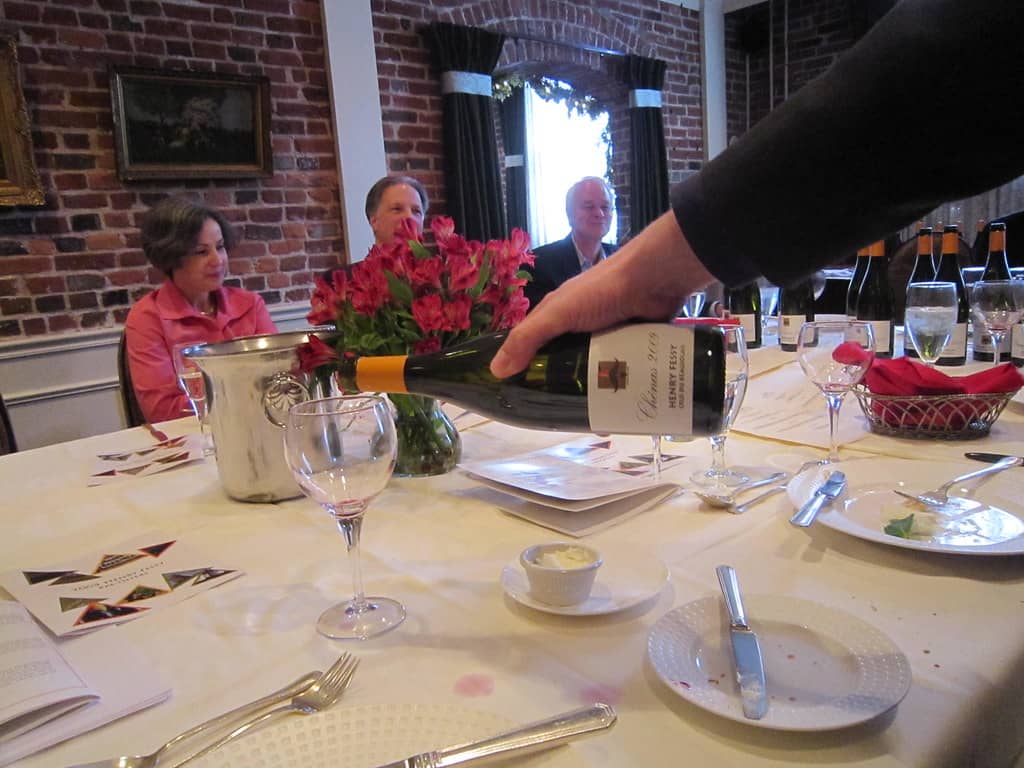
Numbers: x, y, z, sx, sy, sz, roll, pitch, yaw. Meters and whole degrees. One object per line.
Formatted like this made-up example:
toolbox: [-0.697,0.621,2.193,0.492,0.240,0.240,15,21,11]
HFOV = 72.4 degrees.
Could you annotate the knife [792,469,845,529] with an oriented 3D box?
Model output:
knife: [0.441,0.161,1.003,0.044,0.023,0.281,10,16,29]

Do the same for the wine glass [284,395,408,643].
wine glass: [-0.204,0.147,0.863,0.129,0.268,0.190,-9,13,-31]

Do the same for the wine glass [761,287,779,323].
wine glass: [1.005,-0.308,2.737,0.064,0.064,0.247,9,-4,31]

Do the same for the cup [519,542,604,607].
cup: [0.059,0.227,0.844,0.094,0.052,0.072,-1,11,6]

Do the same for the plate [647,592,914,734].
plate: [0.262,0.271,0.707,0.245,0.037,0.186,0,11,12]

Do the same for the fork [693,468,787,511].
fork: [0.365,0.149,1.106,0.056,0.037,0.237,7,6,38]

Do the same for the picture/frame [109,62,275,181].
picture/frame: [-1.485,-1.188,3.183,0.605,0.414,0.043,-11,16,-42]
